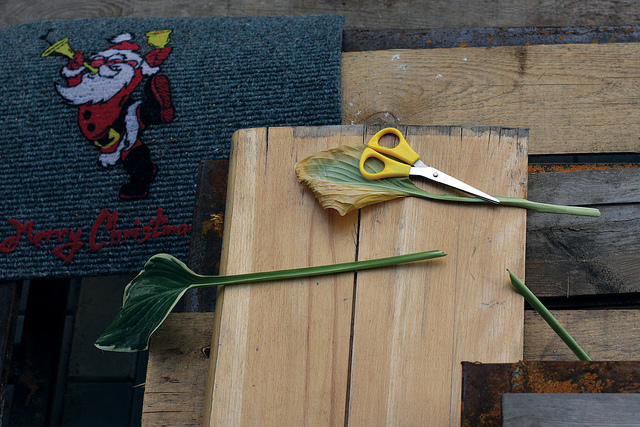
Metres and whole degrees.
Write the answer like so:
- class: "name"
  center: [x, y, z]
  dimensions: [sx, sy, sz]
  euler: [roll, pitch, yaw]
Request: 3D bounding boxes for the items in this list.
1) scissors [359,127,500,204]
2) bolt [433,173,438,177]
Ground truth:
- class: "scissors"
  center: [0.206, -0.081, 2.403]
  dimensions: [0.272, 0.021, 0.127]
  euler: [24, 69, 7]
- class: "bolt"
  center: [0.224, -0.073, 2.404]
  dimensions: [0.009, 0.007, 0.002]
  euler: [-6, -7, 3]
